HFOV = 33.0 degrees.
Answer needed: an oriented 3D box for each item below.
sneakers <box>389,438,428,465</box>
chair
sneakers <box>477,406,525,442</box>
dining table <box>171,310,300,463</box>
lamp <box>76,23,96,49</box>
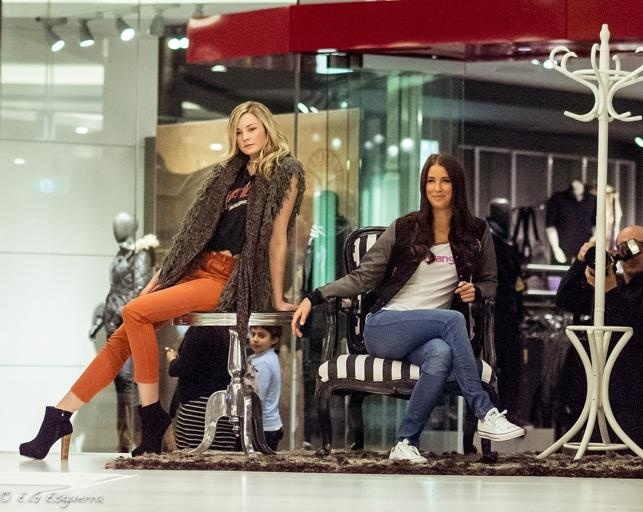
[{"bbox_3d":[0.413,0.963,5.356,0.083,0.096,0.214,7,-12,-40],"label":"sneakers"},{"bbox_3d":[0.450,0.475,5.771,0.919,1.368,0.789,5,-10,7],"label":"chair"},{"bbox_3d":[0.846,0.809,5.208,0.109,0.136,0.283,0,-4,-38],"label":"sneakers"},{"bbox_3d":[-0.379,0.684,5.662,0.618,0.727,0.625,-1,-12,2],"label":"dining table"},{"bbox_3d":[-1.442,-1.319,6.601,0.090,0.200,0.094,-15,1,2],"label":"lamp"}]
